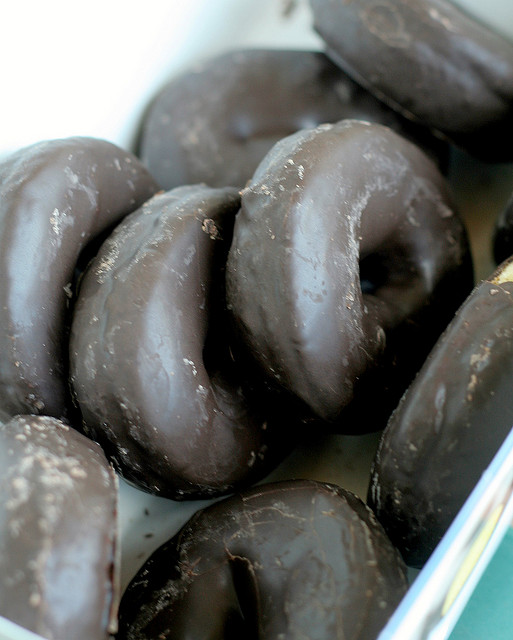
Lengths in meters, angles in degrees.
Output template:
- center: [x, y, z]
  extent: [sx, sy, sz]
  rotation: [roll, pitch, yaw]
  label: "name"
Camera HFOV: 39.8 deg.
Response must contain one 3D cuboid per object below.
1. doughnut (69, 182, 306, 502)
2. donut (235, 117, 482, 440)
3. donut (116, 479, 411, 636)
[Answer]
- center: [-0.070, 0.020, 0.641]
  extent: [0.106, 0.300, 0.244]
  rotation: [-2, 93, 28]
  label: "doughnut"
- center: [0.072, -0.082, 0.711]
  extent: [0.303, 0.103, 0.268]
  rotation: [-17, 53, 40]
  label: "donut"
- center: [0.012, 0.205, 0.603]
  extent: [0.219, 0.099, 0.150]
  rotation: [16, 63, 10]
  label: "donut"
